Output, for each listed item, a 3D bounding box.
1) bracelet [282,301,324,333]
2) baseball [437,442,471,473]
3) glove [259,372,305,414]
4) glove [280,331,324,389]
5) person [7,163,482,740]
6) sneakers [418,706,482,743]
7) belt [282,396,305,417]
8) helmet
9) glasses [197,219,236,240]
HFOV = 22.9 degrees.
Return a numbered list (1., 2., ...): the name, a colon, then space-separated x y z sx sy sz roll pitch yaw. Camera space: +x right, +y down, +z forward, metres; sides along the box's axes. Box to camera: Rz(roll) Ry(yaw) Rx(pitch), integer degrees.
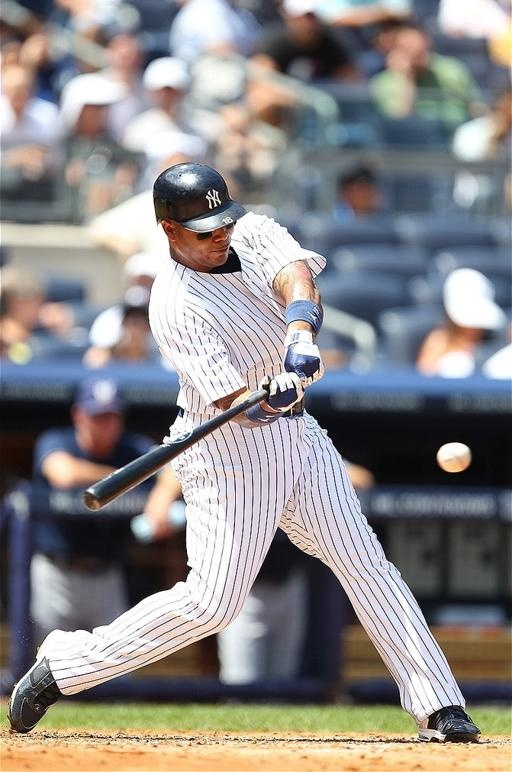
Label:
1. bracelet: 0.113 -0.155 2.928 0.084 0.056 0.080 10 -11 -29
2. baseball: 0.680 0.241 4.355 0.135 0.116 0.069 6 -21 -2
3. glove: 0.070 0.021 2.821 0.103 0.093 0.053 -14 28 -15
4. glove: 0.100 -0.060 2.890 0.096 0.112 0.052 18 -22 -31
5. person: -0.031 0.181 3.116 1.095 1.374 0.665 -2 28 8
6. sneakers: 0.471 0.823 3.062 0.073 0.063 0.145 8 -15 -26
7. belt: 0.093 0.047 3.079 0.046 0.043 0.048 0 1 5
8. helmet: -0.149 -0.447 3.004 0.211 0.110 0.159 18 45 41
9. glasses: -0.087 -0.361 2.957 0.052 0.038 0.095 17 33 39
